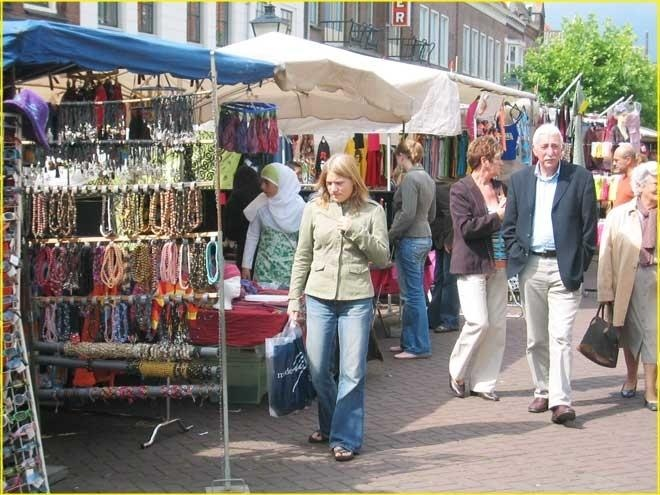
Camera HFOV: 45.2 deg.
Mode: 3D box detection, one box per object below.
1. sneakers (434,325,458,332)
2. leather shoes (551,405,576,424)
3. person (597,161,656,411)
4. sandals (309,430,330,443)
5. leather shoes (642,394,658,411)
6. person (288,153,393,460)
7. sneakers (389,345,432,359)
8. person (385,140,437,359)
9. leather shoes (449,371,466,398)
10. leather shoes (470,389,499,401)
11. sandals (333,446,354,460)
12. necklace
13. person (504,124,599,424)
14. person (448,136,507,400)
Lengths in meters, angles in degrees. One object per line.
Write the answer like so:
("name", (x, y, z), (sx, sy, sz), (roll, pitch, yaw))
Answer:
("sneakers", (1.573, 1.085, 10.727), (0.288, 0.098, 0.114), (2, -3, -10))
("leather shoes", (2.033, 1.442, 6.882), (0.221, 0.174, 0.179), (1, 6, 4))
("person", (2.803, 0.337, 7.405), (0.559, 2.272, 0.473), (3, 6, 25))
("sandals", (-0.082, 1.536, 6.442), (0.153, 0.066, 0.080), (6, -7, -3))
("leather shoes", (2.940, 1.441, 7.265), (0.056, 0.095, 0.140), (-2, 6, -20))
("person", (0.057, 0.444, 6.193), (0.776, 2.341, 0.509), (1, 6, 9))
("sneakers", (0.941, 1.241, 9.284), (0.472, 0.203, 0.161), (4, -4, 2))
("person", (0.922, 0.035, 9.016), (0.481, 2.516, 0.544), (1, 6, 7))
("leather shoes", (1.230, 1.347, 7.712), (0.072, 0.269, 0.093), (-14, -18, 25))
("leather shoes", (1.492, 1.417, 7.658), (0.264, 0.106, 0.097), (1, 5, 39))
("sandals", (0.121, 1.580, 6.100), (0.171, 0.103, 0.105), (-1, 6, -13))
("necklace", (-1.693, 0.139, 6.299), (1.256, 0.940, 0.089), (1, 6, 12))
("person", (1.895, 0.372, 6.963), (0.796, 2.278, 0.424), (3, 6, 23))
("person", (1.410, 0.199, 7.550), (0.545, 2.505, 0.437), (1, 6, 9))
